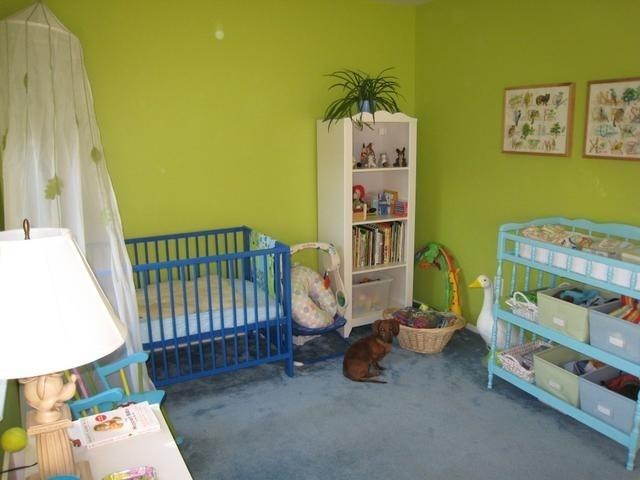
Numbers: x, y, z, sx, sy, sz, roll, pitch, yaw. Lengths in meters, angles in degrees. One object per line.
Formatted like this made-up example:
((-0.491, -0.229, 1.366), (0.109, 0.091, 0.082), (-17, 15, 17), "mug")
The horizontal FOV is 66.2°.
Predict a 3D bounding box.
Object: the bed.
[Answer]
((-0.941, 0.419, 3.610), (1.436, 1.209, 1.022), (-8, 13, -32), "bed")

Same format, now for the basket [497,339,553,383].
((1.343, 0.772, 3.259), (0.263, 0.072, 0.251), (-16, 16, -34), "basket")

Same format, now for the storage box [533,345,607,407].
((1.533, 0.803, 3.033), (0.323, 0.212, 0.332), (-7, 13, -17), "storage box")

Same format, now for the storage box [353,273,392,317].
((0.451, 0.495, 4.282), (0.368, 0.245, 0.257), (-4, 7, -28), "storage box")

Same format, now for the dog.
((0.382, 0.786, 3.516), (0.359, 0.459, 0.332), (-1, 11, -22), "dog")

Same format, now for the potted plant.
((0.421, -1.211, 4.143), (0.856, 0.547, 0.571), (-9, 12, -29), "potted plant")

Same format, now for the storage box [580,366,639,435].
((1.718, 0.913, 2.823), (0.344, 0.247, 0.317), (-9, 12, -31), "storage box")

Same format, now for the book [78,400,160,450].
((-0.844, 0.772, 2.039), (0.212, 0.024, 0.146), (-9, 15, -29), "book")

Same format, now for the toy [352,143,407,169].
((0.508, -0.728, 4.191), (0.436, 0.214, 0.366), (-3, 10, -5), "toy")

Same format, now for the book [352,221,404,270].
((0.482, 0.044, 4.202), (0.356, 0.310, 0.147), (-6, 15, -23), "book")

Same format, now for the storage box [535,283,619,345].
((1.576, 0.406, 3.038), (0.346, 0.222, 0.345), (-9, 13, -31), "storage box")

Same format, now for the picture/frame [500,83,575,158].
((1.571, -0.861, 3.500), (0.043, 0.480, 0.549), (-5, 11, -27), "picture/frame")
